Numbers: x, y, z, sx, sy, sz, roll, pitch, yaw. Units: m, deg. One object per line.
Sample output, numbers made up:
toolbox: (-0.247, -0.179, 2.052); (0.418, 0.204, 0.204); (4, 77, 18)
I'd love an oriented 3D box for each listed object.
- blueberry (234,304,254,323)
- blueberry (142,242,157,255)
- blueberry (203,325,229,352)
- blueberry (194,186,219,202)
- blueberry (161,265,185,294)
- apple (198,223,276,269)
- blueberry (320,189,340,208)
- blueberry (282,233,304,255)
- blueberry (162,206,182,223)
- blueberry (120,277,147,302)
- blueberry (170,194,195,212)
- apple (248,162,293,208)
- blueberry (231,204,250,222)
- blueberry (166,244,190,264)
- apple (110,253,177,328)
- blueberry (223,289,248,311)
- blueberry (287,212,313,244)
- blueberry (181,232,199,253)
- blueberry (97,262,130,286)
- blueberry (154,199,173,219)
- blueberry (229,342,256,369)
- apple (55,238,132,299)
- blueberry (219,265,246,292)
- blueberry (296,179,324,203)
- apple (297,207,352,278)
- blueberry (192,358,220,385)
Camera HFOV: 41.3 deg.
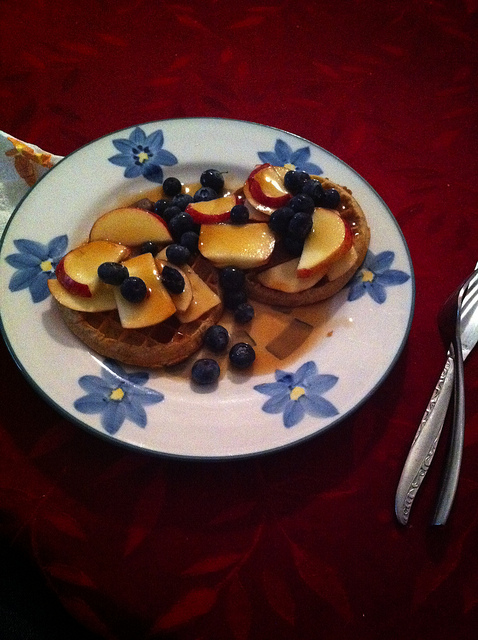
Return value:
blueberry: (0.020, -0.024, 2.604); (0.084, 0.041, 0.067); (-1, 72, 2)
blueberry: (-0.378, -0.302, 2.679); (0.059, 0.052, 0.061); (11, 48, 1)
blueberry: (-0.085, 0.070, 2.505); (0.111, 0.095, 0.095); (9, 48, -4)
blueberry: (-0.143, -0.563, 2.839); (0.090, 0.040, 0.075); (-7, 55, -1)
blueberry: (-0.258, -0.154, 2.468); (0.089, 0.097, 0.048); (-10, 22, 26)
apple: (0.000, -0.318, 2.667); (0.353, 0.073, 0.184); (4, 63, 3)
blueberry: (0.391, -0.518, 2.728); (0.086, 0.074, 0.093); (17, 15, 0)
blueberry: (0.225, -0.312, 2.674); (0.097, 0.032, 0.085); (27, 82, 5)
blueberry: (-0.298, -0.464, 2.758); (0.077, 0.075, 0.069); (11, 25, -4)
blueberry: (-0.394, -0.113, 2.438); (0.101, 0.081, 0.091); (-1, 2, 13)
blueberry: (-0.251, -0.529, 2.827); (0.104, 0.048, 0.086); (-6, 54, -6)
apple: (0.126, -0.577, 2.792); (0.224, 0.165, 0.147); (-13, 33, -11)
blueberry: (0.004, -0.447, 2.684); (0.075, 0.080, 0.064); (23, 88, -9)
blueberry: (-0.246, -0.264, 2.560); (0.086, 0.054, 0.076); (16, 39, 2)
apple: (-0.381, -0.115, 2.479); (0.211, 0.073, 0.293); (-18, 70, -15)
blueberry: (-0.016, -0.086, 2.700); (0.101, 0.048, 0.084); (4, 59, 4)
blueberry: (0.252, -0.384, 2.634); (0.108, 0.076, 0.125); (-9, 50, 24)
blueberry: (-0.203, -0.330, 2.724); (0.081, 0.077, 0.073); (5, 19, 11)
blueberry: (-0.484, -0.176, 2.448); (0.104, 0.045, 0.091); (8, 25, -26)
blueberry: (-0.342, -0.501, 2.868); (0.090, 0.079, 0.084); (4, 71, -9)
blueberry: (0.010, 0.135, 2.432); (0.107, 0.051, 0.087); (2, 65, 1)
apple: (-0.574, -0.192, 2.494); (0.251, 0.139, 0.292); (15, 30, 33)
blueberry: (-0.025, -0.171, 2.630); (0.119, 0.111, 0.107); (2, 13, 12)
blueberry: (0.315, -0.552, 2.751); (0.116, 0.094, 0.105); (25, 16, -9)
apple: (0.346, -0.320, 2.618); (0.240, 0.264, 0.232); (19, 42, 22)
blueberry: (-0.126, 0.195, 2.372); (0.107, 0.049, 0.088); (4, 66, -1)
